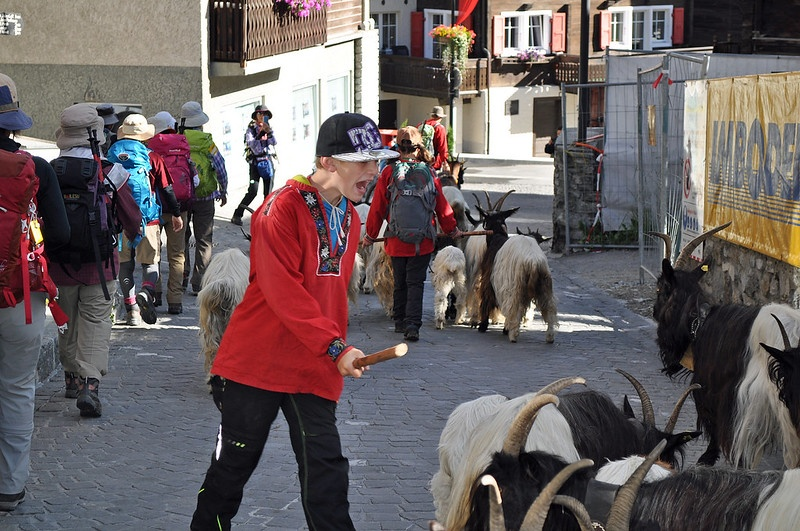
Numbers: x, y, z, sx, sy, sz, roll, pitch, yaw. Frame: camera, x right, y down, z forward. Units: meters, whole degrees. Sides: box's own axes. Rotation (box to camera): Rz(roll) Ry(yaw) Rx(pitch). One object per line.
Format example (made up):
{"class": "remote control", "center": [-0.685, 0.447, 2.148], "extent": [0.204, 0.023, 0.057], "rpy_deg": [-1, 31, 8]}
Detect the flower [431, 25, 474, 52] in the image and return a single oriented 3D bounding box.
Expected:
{"class": "flower", "center": [1.994, -8.609, 40.119], "extent": [1.526, 0.978, 0.870], "rpy_deg": [-7, 11, -32]}

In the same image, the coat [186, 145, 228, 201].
{"class": "coat", "center": [-2.560, -1.281, 14.351], "extent": [0.430, 0.890, 0.740], "rpy_deg": [-3, -2, -39]}

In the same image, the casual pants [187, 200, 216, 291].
{"class": "casual pants", "center": [-2.672, -0.325, 14.049], "extent": [0.329, 1.378, 0.287], "rpy_deg": [-4, -15, 26]}

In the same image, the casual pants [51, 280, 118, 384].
{"class": "casual pants", "center": [-3.035, 0.434, 10.119], "extent": [0.489, 1.266, 0.339], "rpy_deg": [3, 18, 5]}

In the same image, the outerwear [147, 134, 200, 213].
{"class": "outerwear", "center": [-3.079, -1.263, 13.714], "extent": [0.593, 0.947, 0.877], "rpy_deg": [-4, 13, 0]}

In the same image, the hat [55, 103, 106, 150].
{"class": "hat", "center": [-3.085, -1.324, 10.258], "extent": [0.568, 0.363, 0.479], "rpy_deg": [4, 17, 22]}

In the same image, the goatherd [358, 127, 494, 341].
{"class": "goatherd", "center": [0.080, -0.394, 13.087], "extent": [1.040, 2.667, 0.989], "rpy_deg": [4, 6, 25]}

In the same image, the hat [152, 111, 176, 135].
{"class": "hat", "center": [-3.103, -1.865, 14.002], "extent": [0.291, 0.154, 0.411], "rpy_deg": [-13, 11, 6]}

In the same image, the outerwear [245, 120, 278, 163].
{"class": "outerwear", "center": [-2.466, -2.192, 19.276], "extent": [0.540, 0.784, 0.634], "rpy_deg": [0, -9, -25]}

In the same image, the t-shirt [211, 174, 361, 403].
{"class": "t-shirt", "center": [-0.803, 0.178, 7.582], "extent": [1.015, 1.587, 0.678], "rpy_deg": [-1, 8, -2]}

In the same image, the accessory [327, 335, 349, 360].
{"class": "accessory", "center": [-0.440, 0.573, 7.399], "extent": [0.124, 0.131, 0.156], "rpy_deg": [-14, -13, -8]}

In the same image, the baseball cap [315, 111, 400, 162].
{"class": "baseball cap", "center": [-0.335, -0.917, 7.699], "extent": [0.458, 0.289, 0.345], "rpy_deg": [3, 4, 27]}

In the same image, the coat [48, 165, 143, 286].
{"class": "coat", "center": [-2.910, -0.443, 10.269], "extent": [0.994, 1.448, 0.919], "rpy_deg": [0, 9, -1]}

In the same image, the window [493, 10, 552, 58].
{"class": "window", "center": [4.793, -9.269, 42.551], "extent": [1.770, 1.454, 0.244], "rpy_deg": [0, -1, -16]}

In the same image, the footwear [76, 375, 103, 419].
{"class": "footwear", "center": [-2.974, 1.219, 10.225], "extent": [0.186, 0.405, 0.535], "rpy_deg": [5, -22, -7]}

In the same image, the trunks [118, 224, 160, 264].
{"class": "trunks", "center": [-3.000, -0.253, 12.191], "extent": [0.354, 0.397, 0.214], "rpy_deg": [3, 12, 3]}

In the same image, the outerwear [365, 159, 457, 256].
{"class": "outerwear", "center": [0.141, -0.795, 13.046], "extent": [1.146, 1.290, 0.669], "rpy_deg": [-1, 37, 7]}
